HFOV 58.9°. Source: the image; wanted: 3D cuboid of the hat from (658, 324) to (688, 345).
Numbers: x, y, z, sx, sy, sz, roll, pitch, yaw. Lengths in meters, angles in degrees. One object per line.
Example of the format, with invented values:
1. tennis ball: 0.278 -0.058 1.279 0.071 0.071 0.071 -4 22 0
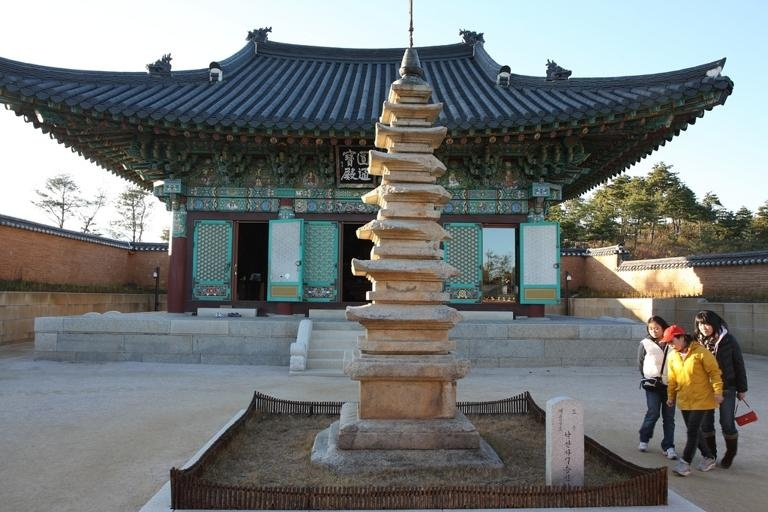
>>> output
1. hat: 4.963 1.366 11.696 0.476 0.215 0.282 -21 3 22

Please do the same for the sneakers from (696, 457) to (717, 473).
1. sneakers: 5.444 3.510 11.418 0.380 0.205 0.134 0 -3 -13

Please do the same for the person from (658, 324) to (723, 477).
1. person: 5.186 2.425 11.434 0.918 2.444 0.551 -2 -3 20

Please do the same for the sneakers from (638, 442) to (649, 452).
1. sneakers: 4.469 3.321 11.744 0.122 0.121 0.196 8 -25 -1
